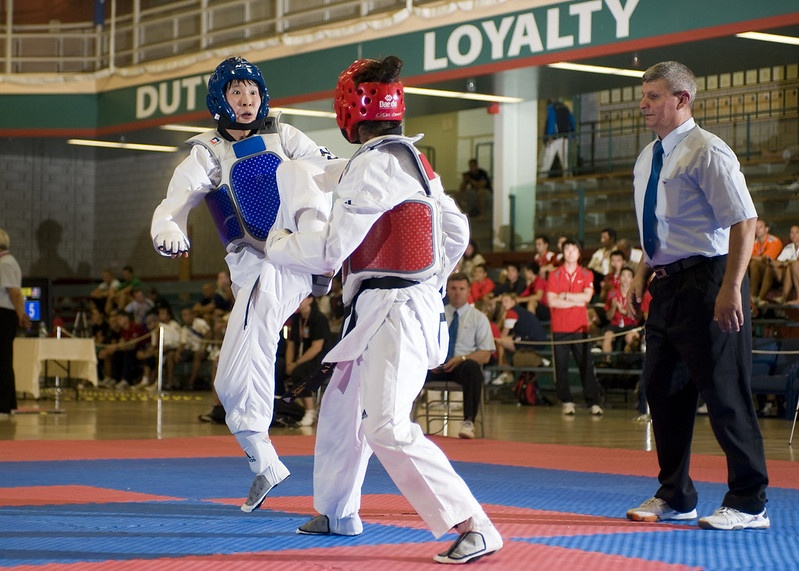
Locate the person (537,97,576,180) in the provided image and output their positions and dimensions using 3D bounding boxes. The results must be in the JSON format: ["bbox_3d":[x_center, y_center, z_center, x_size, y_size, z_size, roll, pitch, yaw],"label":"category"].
[{"bbox_3d":[2.655,-2.458,21.927,0.593,0.865,0.925,-2,1,9],"label":"person"}]

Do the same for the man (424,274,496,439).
[{"bbox_3d":[0.610,0.778,15.063,1.034,1.604,1.015,-1,20,23],"label":"man"}]

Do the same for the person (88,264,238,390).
[{"bbox_3d":[-3.904,0.853,21.733,1.716,1.391,2.727,4,-5,-7],"label":"person"}]

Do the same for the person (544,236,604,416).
[{"bbox_3d":[2.242,0.536,16.847,0.673,1.528,0.572,-2,1,5],"label":"person"}]

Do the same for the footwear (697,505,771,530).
[{"bbox_3d":[2.763,1.948,10.891,0.574,0.235,0.214,3,-10,-6],"label":"footwear"}]

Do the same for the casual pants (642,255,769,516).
[{"bbox_3d":[2.542,0.832,10.940,0.956,2.133,0.286,-2,1,11],"label":"casual pants"}]

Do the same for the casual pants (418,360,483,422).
[{"bbox_3d":[0.726,1.109,14.883,0.522,0.544,0.527,0,-12,41],"label":"casual pants"}]

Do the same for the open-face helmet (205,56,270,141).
[{"bbox_3d":[-1.511,-1.660,11.777,0.582,0.702,0.664,0,-7,-30],"label":"open-face helmet"}]

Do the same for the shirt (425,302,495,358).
[{"bbox_3d":[0.721,0.607,15.275,0.933,0.724,0.374,2,-1,35],"label":"shirt"}]

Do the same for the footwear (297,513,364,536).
[{"bbox_3d":[-0.547,1.960,10.651,0.528,0.210,0.190,3,-5,1],"label":"footwear"}]

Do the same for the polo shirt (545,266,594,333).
[{"bbox_3d":[2.203,0.199,16.950,0.638,0.858,0.467,-1,17,-1],"label":"polo shirt"}]

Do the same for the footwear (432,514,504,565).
[{"bbox_3d":[0.529,2.006,10.321,0.675,0.458,0.255,-7,-4,-2],"label":"footwear"}]

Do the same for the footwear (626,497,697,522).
[{"bbox_3d":[2.192,1.899,11.081,0.597,0.224,0.212,5,-9,-9],"label":"footwear"}]

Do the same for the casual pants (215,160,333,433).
[{"bbox_3d":[-1.153,0.081,11.037,0.640,2.270,1.139,5,-5,-43],"label":"casual pants"}]

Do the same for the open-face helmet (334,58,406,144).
[{"bbox_3d":[-0.327,-1.442,10.582,0.502,0.609,0.637,0,17,-12],"label":"open-face helmet"}]

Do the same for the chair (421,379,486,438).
[{"bbox_3d":[0.758,1.281,15.288,0.502,0.907,0.621,3,-13,12],"label":"chair"}]

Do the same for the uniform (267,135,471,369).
[{"bbox_3d":[-0.274,-0.274,10.898,1.369,1.828,1.724,0,6,32],"label":"uniform"}]
